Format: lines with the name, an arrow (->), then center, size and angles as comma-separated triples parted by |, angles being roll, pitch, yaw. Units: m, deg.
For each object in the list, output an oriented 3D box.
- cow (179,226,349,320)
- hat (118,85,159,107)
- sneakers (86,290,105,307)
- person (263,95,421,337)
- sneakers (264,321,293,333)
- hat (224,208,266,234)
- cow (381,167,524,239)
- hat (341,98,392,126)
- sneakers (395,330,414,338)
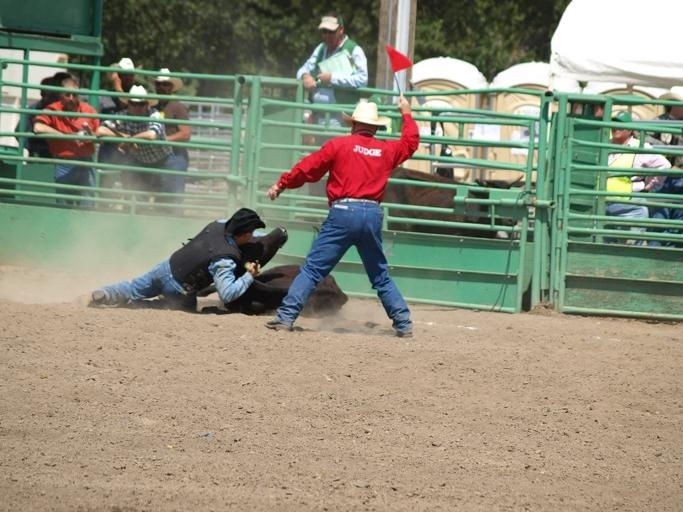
cow -> -0.802, 0.223, 10.735 | 1.519, 0.502, 0.983 | -6, 36, -20
hat -> -2.638, -2.164, 13.067 | 0.639, 0.209, 0.630 | 1, -6, -6
sneakers -> -2.536, 0.449, 10.318 | 0.227, 0.181, 0.111 | -5, 15, -37
person -> 0.070, -0.382, 10.092 | 1.560, 2.408, 0.819 | 3, 13, -4
sneakers -> -0.608, 0.719, 9.960 | 0.284, 0.096, 0.102 | 5, 4, 16
hat -> -0.981, -0.352, 10.306 | 0.362, 0.123, 0.280 | -11, 21, -41
cow -> 1.202, -0.599, 11.707 | 1.231, 0.267, 0.985 | 2, 40, 5
hat -> 0.268, -1.451, 10.161 | 0.402, 0.142, 0.410 | 7, 9, -13
sneakers -> 0.654, 0.805, 10.095 | 0.128, 0.064, 0.090 | 2, 2, 22
